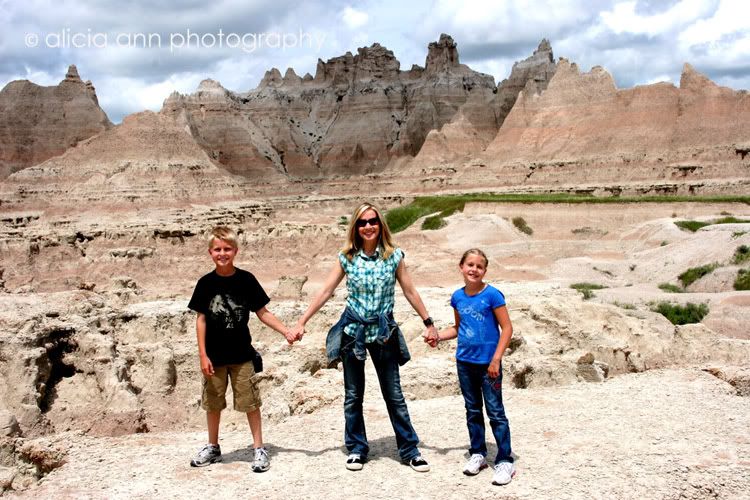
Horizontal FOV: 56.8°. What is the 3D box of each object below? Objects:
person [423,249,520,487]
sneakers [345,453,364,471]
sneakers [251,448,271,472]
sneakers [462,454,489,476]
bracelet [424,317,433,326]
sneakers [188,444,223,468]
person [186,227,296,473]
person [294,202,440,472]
[{"bbox_3d":[1.583,1.638,10.178,0.960,3.215,0.734,-7,1,5],"label":"person"},{"bbox_3d":[-0.282,3.087,10.201,0.302,0.227,0.150,-6,1,-9],"label":"sneakers"},{"bbox_3d":[-1.689,3.046,10.167,0.247,0.365,0.156,-6,1,-6],"label":"sneakers"},{"bbox_3d":[1.440,3.095,10.074,0.187,0.177,0.449,-7,-16,26],"label":"sneakers"},{"bbox_3d":[0.800,1.062,10.445,0.135,0.083,0.140,-22,-4,25],"label":"bracelet"},{"bbox_3d":[-2.495,3.020,10.252,0.216,0.192,0.473,2,-1,42],"label":"sneakers"},{"bbox_3d":[-2.171,1.436,10.414,1.357,3.703,0.663,-6,1,5],"label":"person"},{"bbox_3d":[-0.041,1.265,10.334,1.666,3.864,0.535,-6,1,2],"label":"person"}]
